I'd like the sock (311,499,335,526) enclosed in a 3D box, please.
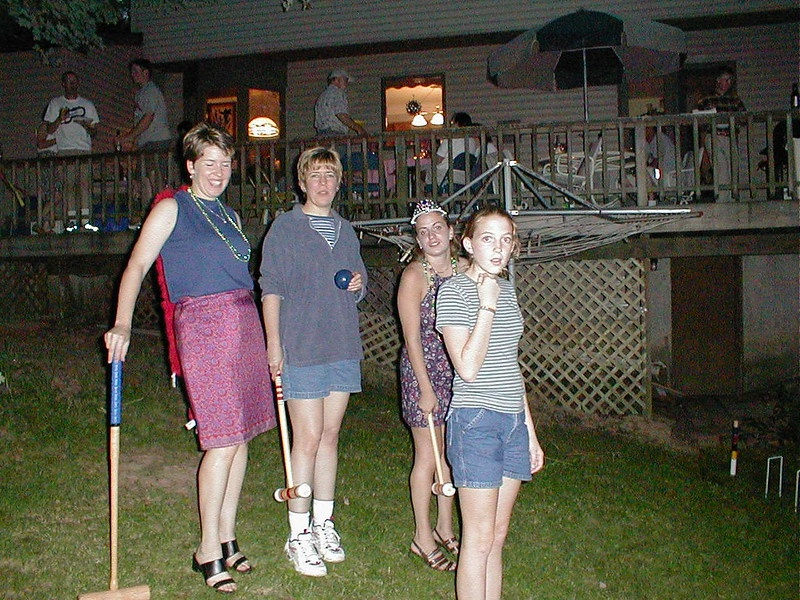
[{"bbox_3d":[-0.635,1.729,6.433,0.212,0.301,0.172,2,-24,-3],"label":"sock"}]

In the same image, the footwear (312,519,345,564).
[{"bbox_3d":[-0.580,1.997,6.497,0.166,0.219,0.454,-1,7,-29],"label":"footwear"}]

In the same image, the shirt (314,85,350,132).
[{"bbox_3d":[-1.068,-3.114,12.676,0.360,0.736,0.674,-10,20,-35],"label":"shirt"}]

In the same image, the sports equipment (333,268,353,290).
[{"bbox_3d":[-0.463,-0.168,6.389,0.131,0.153,0.036,2,0,-24],"label":"sports equipment"}]

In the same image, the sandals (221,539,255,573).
[{"bbox_3d":[-1.291,2.022,6.204,0.125,0.152,0.343,0,-8,-41],"label":"sandals"}]

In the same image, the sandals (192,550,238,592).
[{"bbox_3d":[-1.471,2.086,6.134,0.453,0.201,0.172,21,4,40],"label":"sandals"}]

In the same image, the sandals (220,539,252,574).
[{"bbox_3d":[-1.299,2.022,6.216,0.125,0.154,0.343,2,-9,-41],"label":"sandals"}]

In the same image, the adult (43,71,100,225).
[{"bbox_3d":[-5.239,-2.376,12.702,0.790,2.572,0.803,-5,9,-27],"label":"adult"}]

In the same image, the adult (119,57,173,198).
[{"bbox_3d":[-4.301,-2.808,13.272,0.694,2.571,0.750,3,32,-6],"label":"adult"}]

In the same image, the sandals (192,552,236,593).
[{"bbox_3d":[-1.420,2.095,6.099,0.443,0.195,0.175,21,4,39],"label":"sandals"}]

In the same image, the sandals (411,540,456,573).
[{"bbox_3d":[0.281,2.140,6.682,0.326,0.143,0.185,22,10,30],"label":"sandals"}]

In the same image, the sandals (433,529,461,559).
[{"bbox_3d":[0.396,2.108,6.843,0.137,0.285,0.086,-33,-20,-22],"label":"sandals"}]

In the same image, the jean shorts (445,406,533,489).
[{"bbox_3d":[0.619,1.006,5.712,0.725,0.685,0.467,9,-15,-41],"label":"jean shorts"}]

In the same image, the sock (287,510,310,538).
[{"bbox_3d":[-0.796,1.778,6.392,0.217,0.311,0.182,0,-3,-5],"label":"sock"}]

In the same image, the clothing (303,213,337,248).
[{"bbox_3d":[-0.623,-0.593,6.511,0.225,0.260,0.085,7,-17,-37],"label":"clothing"}]

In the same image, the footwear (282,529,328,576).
[{"bbox_3d":[-0.770,2.050,6.425,0.333,0.380,0.207,-1,7,-9],"label":"footwear"}]
